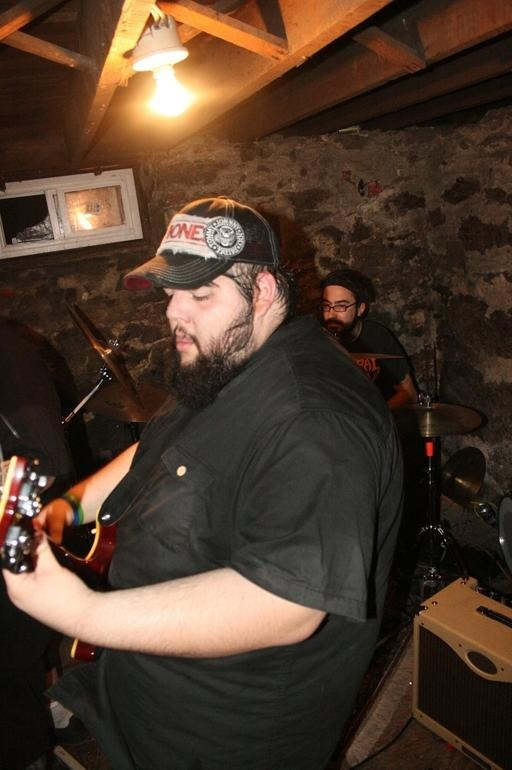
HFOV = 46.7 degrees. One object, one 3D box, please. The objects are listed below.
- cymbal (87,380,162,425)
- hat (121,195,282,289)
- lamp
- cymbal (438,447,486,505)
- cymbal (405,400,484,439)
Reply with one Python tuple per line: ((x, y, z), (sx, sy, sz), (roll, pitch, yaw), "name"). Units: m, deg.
((-0.683, 0.095, 3.180), (0.361, 0.074, 0.360), (12, 8, 5), "cymbal")
((-0.121, -0.301, 1.291), (0.304, 0.170, 0.201), (-4, 15, -23), "hat")
((-0.301, -1.005, 1.847), (0.174, 0.234, 0.357), (-9, 13, -7), "lamp")
((1.261, 0.551, 3.542), (0.226, 0.274, 0.321), (-8, 13, -3), "cymbal")
((0.955, 0.173, 3.025), (0.254, 0.057, 0.246), (-12, 25, -25), "cymbal")
